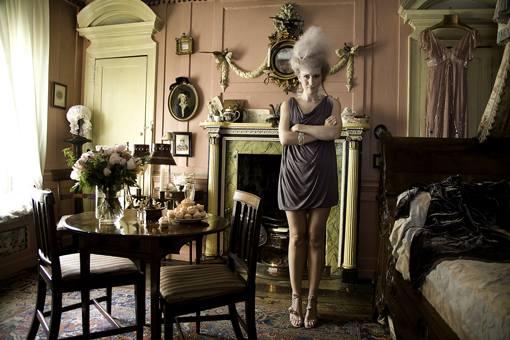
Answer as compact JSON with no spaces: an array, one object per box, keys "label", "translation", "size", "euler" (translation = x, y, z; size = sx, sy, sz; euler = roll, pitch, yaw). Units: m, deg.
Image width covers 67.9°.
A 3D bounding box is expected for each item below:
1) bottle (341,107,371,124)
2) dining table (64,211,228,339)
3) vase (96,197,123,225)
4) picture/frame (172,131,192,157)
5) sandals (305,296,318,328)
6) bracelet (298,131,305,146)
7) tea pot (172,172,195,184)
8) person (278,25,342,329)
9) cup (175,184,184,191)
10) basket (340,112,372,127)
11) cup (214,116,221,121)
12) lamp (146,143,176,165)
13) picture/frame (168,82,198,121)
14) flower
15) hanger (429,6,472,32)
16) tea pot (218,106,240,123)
[{"label":"bottle","translation":[1.241,-0.690,4.783],"size":[0.210,0.186,0.294],"euler":[-1,0,10]},{"label":"dining table","translation":[-0.977,0.905,3.361],"size":[1.432,0.961,0.681],"euler":[1,9,15]},{"label":"vase","translation":[-1.290,0.345,3.321],"size":[0.219,0.250,0.229],"euler":[-1,-1,20]},{"label":"picture/frame","translation":[-1.010,-0.370,5.372],"size":[0.367,0.512,0.052],"euler":[2,6,2]},{"label":"sandals","translation":[0.554,1.437,3.744],"size":[0.106,0.145,0.330],"euler":[-1,-2,9]},{"label":"bracelet","translation":[0.456,-0.316,3.765],"size":[0.098,0.106,0.095],"euler":[-4,19,-2]},{"label":"tea pot","translation":[-0.991,0.116,5.187],"size":[0.174,0.121,0.236],"euler":[-4,6,-34]},{"label":"person","translation":[0.561,0.051,3.863],"size":[0.636,3.007,0.570],"euler":[-3,8,-9]},{"label":"cup","translation":[-1.001,0.232,5.020],"size":[0.073,0.051,0.112],"euler":[-9,-9,37]},{"label":"basket","translation":[1.246,-0.625,4.730],"size":[0.332,0.220,0.344],"euler":[-1,-1,12]},{"label":"cup","translation":[-0.495,-0.685,5.072],"size":[0.069,0.054,0.070],"euler":[-1,-1,0]},{"label":"lamp","translation":[-1.049,-0.164,4.349],"size":[0.235,0.169,0.256],"euler":[1,-3,-7]},{"label":"picture/frame","translation":[-0.988,-0.974,5.369],"size":[0.496,0.630,0.061],"euler":[3,6,20]},{"label":"flower","translation":[-1.325,0.002,3.357],"size":[0.453,0.415,0.458],"euler":[-6,-4,40]},{"label":"hanger","translation":[2.433,-1.895,4.740],"size":[0.392,0.216,0.026],"euler":[0,3,11]},{"label":"tea pot","translation":[-0.329,-0.743,5.091],"size":[0.244,0.185,0.171],"euler":[2,0,-5]}]
